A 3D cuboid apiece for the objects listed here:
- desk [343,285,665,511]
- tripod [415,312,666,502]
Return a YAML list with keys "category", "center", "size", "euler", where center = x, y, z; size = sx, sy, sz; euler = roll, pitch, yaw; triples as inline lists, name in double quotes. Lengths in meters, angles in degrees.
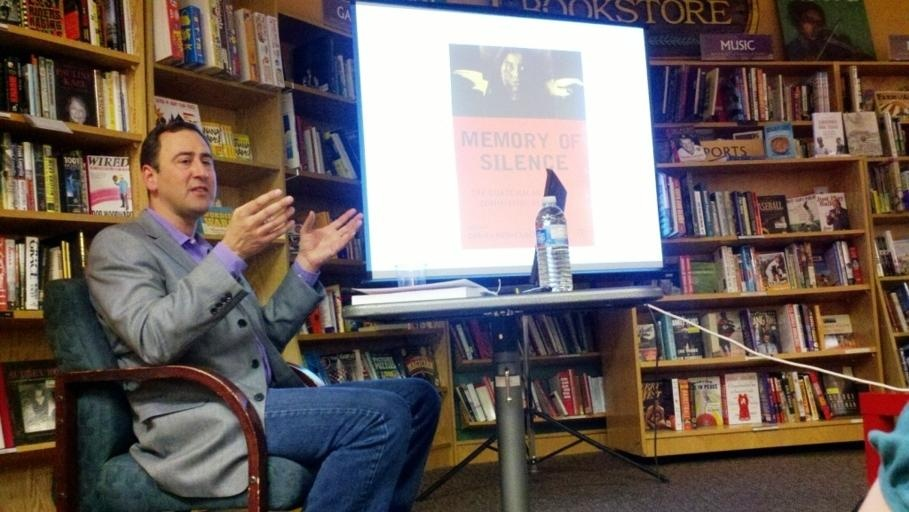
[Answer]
- category: "desk"
  center: [0.216, 0.469, 3.596]
  size: [1.743, 0.954, 1.440]
  euler: [-1, -7, -4]
- category: "tripod"
  center: [0.528, 1.040, 4.457]
  size: [1.637, 1.221, 1.212]
  euler: [-2, 9, -9]
